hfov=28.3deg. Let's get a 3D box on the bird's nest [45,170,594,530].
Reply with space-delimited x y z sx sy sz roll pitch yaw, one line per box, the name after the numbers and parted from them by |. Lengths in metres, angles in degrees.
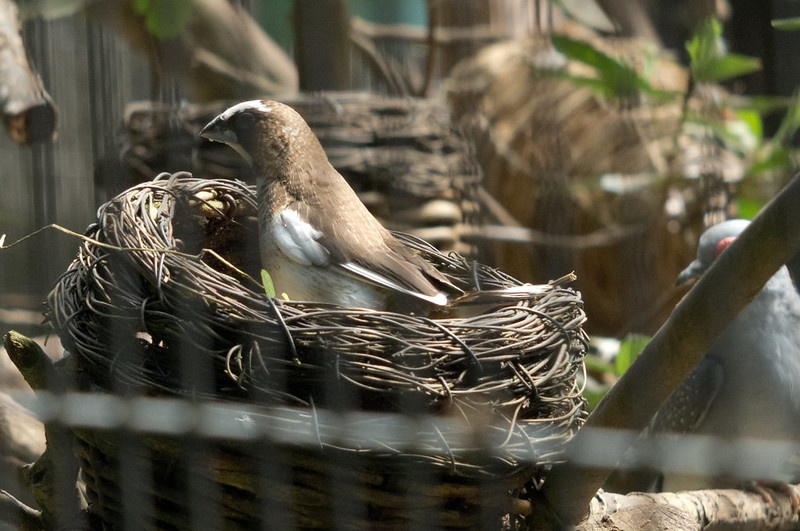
-0.210 0.168 2.949 0.770 0.450 0.825 -4 16 -41 | bird's nest
